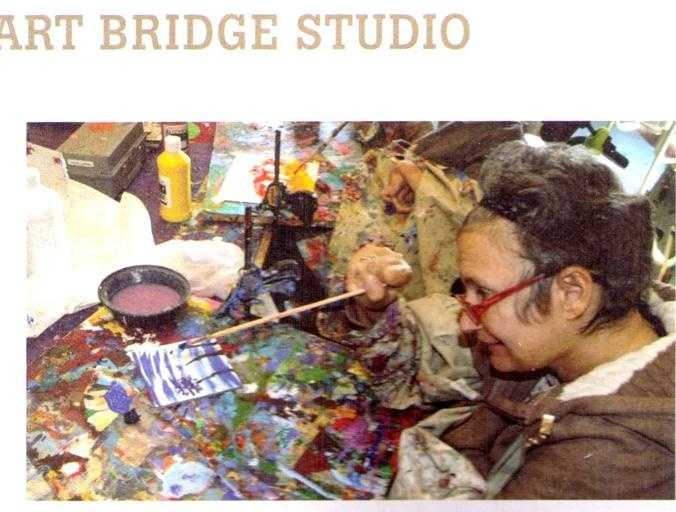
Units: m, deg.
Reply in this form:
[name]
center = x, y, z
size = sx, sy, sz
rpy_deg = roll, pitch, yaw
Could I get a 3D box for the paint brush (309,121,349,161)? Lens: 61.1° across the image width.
[paint brush]
center = -0.052, -0.517, 2.564
size = 0.284, 0.035, 0.023
rpy_deg = -34, 20, -4

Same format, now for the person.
[person]
center = 1.003, 0.283, 2.919
size = 1.453, 1.449, 0.761
rpy_deg = 6, 0, 10

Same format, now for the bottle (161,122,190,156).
[bottle]
center = -0.720, -0.542, 2.679
size = 0.147, 0.128, 0.141
rpy_deg = -18, 25, -36
